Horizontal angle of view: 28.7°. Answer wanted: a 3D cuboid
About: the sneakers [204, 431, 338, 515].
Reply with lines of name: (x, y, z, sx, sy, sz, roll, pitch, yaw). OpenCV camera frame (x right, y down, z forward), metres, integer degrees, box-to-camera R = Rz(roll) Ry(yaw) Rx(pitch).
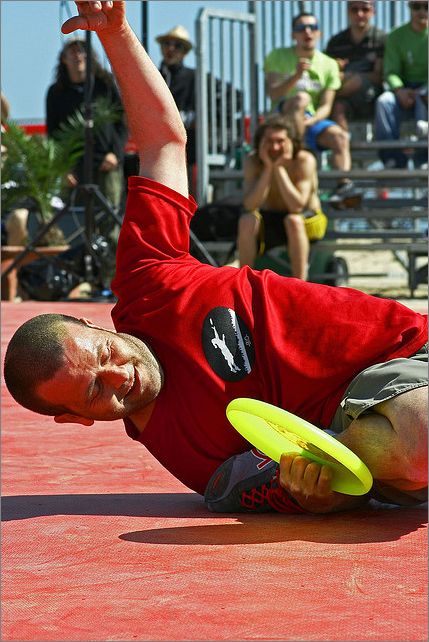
sneakers: (0.130, 0.304, 1.641, 0.343, 0.110, 0.142, -3, 43, 6)

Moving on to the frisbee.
frisbee: (0.150, 0.207, 1.568, 0.270, 0.054, 0.275, 26, 6, 30)
